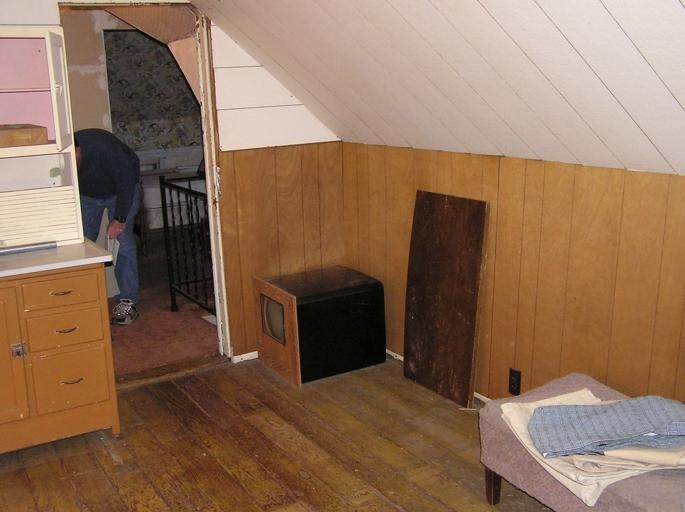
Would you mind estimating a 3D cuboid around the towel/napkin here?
[{"bbox_3d":[0.896,0.750,2.257,0.444,0.121,0.446,-15,30,-10],"label":"towel/napkin"}]

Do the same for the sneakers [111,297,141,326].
[{"bbox_3d":[-1.741,0.456,4.630,0.118,0.131,0.284,-2,1,-4],"label":"sneakers"}]
